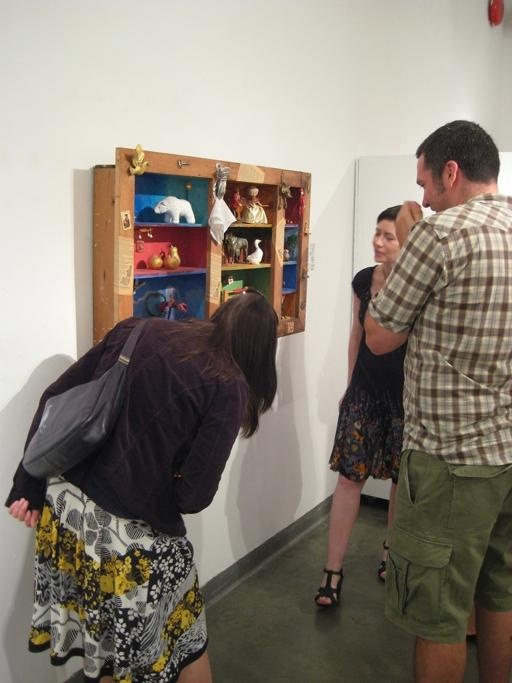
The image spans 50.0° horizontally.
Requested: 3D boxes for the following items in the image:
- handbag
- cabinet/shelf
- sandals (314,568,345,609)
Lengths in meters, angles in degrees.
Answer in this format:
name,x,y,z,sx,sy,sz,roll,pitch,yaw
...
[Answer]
name,x,y,z,sx,sy,sz,roll,pitch,yaw
handbag,-0.330,0.189,1.156,0.170,0.080,0.276,8,58,51
cabinet/shelf,-0.178,-0.299,1.877,0.848,0.605,0.147,-9,18,-35
sandals,0.286,0.971,2.167,0.060,0.083,0.185,-2,2,15
